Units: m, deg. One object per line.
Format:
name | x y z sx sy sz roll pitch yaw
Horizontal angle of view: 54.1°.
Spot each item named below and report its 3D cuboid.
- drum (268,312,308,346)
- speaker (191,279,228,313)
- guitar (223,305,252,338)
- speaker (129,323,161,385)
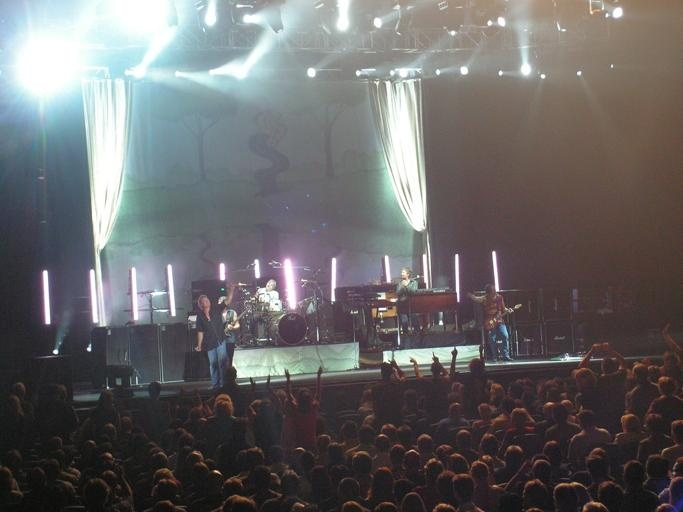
drum | -1.070 1.437 13.178 0.609 0.629 0.640 -19 1 -15
speaker | -2.576 0.778 13.084 0.650 0.612 0.222 -1 -5 -1
guitar | -2.182 1.295 13.786 0.685 0.349 0.101 -41 -5 11
speaker | -3.879 2.025 13.097 0.671 1.210 0.720 -4 -27 -15
